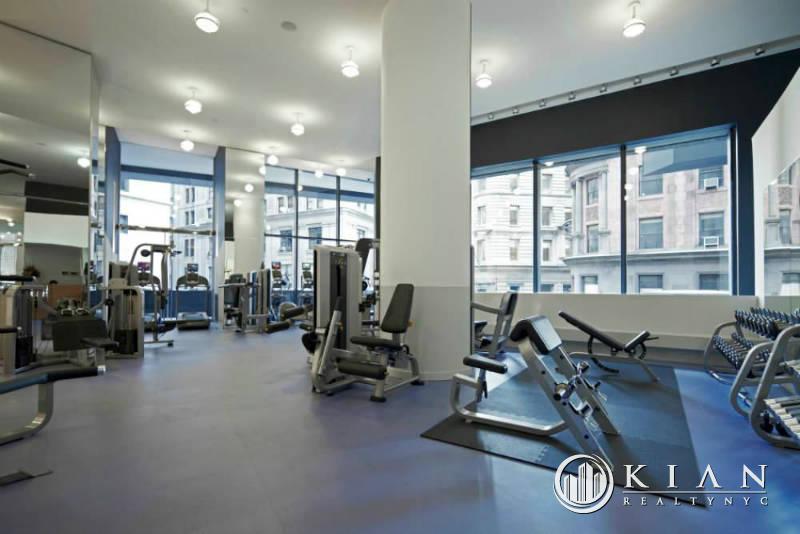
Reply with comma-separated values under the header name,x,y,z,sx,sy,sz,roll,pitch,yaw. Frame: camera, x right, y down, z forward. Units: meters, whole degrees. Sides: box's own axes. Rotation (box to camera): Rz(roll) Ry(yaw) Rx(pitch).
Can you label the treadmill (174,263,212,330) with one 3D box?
name,x,y,z,sx,sy,sz,roll,pitch,yaw
treadmill,-4.578,0.635,11.991,0.761,1.405,1.199,2,3,-18
